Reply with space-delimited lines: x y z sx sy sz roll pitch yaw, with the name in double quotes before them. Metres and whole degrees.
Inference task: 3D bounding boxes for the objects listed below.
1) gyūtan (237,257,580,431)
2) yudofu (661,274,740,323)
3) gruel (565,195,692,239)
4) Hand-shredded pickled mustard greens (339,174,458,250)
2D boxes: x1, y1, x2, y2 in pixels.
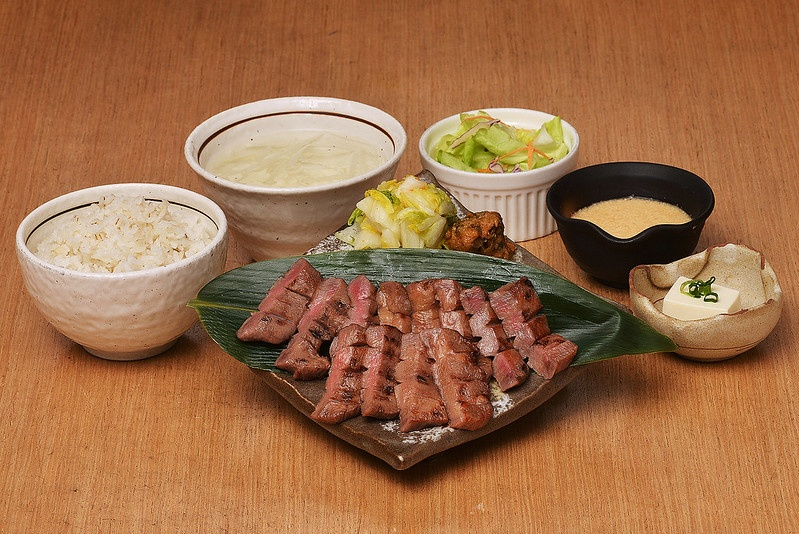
"gyūtan" 0.021 0.256 2.403 0.787 0.131 0.547 3 34 1
"yudofu" 1.033 0.112 2.591 0.224 0.114 0.173 28 56 21
"gruel" 0.870 -0.184 2.879 0.287 0.086 0.412 -7 15 -22
"Hand-shredded pickled mustard greens" -0.021 -0.198 2.834 0.330 0.153 0.304 20 54 23
